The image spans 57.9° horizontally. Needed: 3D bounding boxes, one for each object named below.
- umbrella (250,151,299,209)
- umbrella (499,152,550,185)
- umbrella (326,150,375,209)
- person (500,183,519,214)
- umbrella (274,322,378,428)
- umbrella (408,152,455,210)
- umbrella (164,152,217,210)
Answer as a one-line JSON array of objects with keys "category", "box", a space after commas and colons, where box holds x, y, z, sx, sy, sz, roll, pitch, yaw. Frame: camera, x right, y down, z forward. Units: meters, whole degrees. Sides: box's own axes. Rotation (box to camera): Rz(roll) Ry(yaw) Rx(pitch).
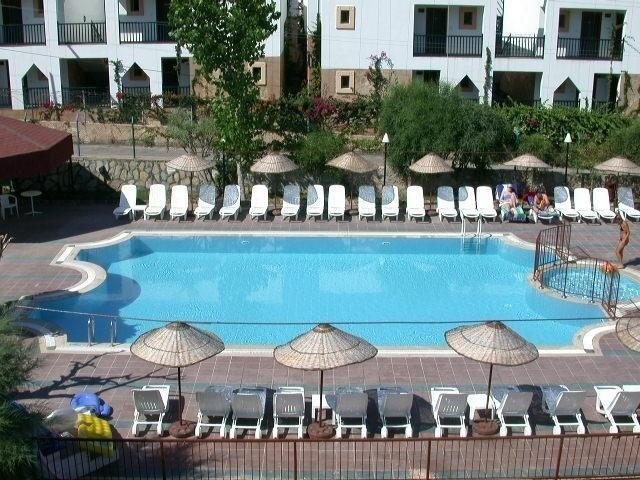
[{"category": "umbrella", "box": [-1.596, -2.424, 20.719, 1.056, 1.623, 1.227, -3, 25, -4]}, {"category": "umbrella", "box": [7.457, -2.796, 20.901, 1.166, 0.604, 1.287, 7, 15, 33]}, {"category": "umbrella", "box": [1.187, -2.451, 20.683, 1.069, 1.055, 1.160, -7, 19, -22]}, {"category": "person", "box": [6.733, -1.488, 20.605, 0.620, 0.873, 0.759, 4, 16, 17]}, {"category": "umbrella", "box": [0.139, 2.280, 10.193, 1.467, 1.736, 1.582, 5, 19, 9]}, {"category": "umbrella", "box": [4.132, -2.222, 21.566, 1.579, 1.709, 1.773, 0, 14, 3]}, {"category": "umbrella", "box": [-4.611, -2.184, 21.177, 1.671, 2.140, 2.687, -1, 15, 0]}]
